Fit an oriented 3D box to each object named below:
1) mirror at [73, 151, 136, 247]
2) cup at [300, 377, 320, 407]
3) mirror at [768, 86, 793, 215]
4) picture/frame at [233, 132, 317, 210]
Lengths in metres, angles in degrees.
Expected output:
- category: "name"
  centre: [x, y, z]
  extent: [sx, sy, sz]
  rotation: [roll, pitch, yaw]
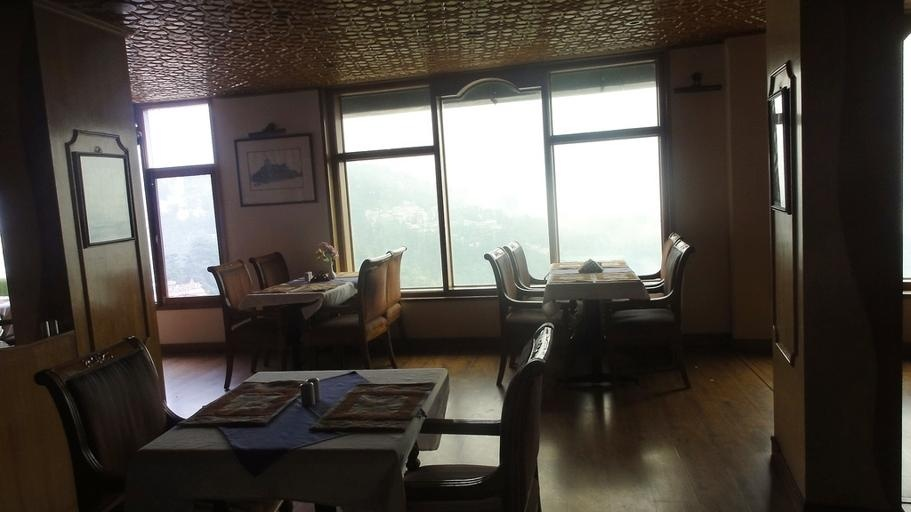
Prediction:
- category: "mirror"
  centre: [-3.297, -0.520, 5.692]
  extent: [0.084, 1.010, 0.967]
  rotation: [-1, 2, 16]
- category: "cup"
  centre: [-1.030, 0.975, 4.386]
  extent: [0.129, 0.169, 0.148]
  rotation: [2, 9, 43]
- category: "mirror"
  centre: [2.596, -0.833, 4.893]
  extent: [0.125, 0.966, 0.558]
  rotation: [-2, 8, 23]
- category: "picture/frame"
  centre: [-2.407, -1.183, 8.286]
  extent: [1.120, 0.848, 0.071]
  rotation: [-4, 5, 6]
